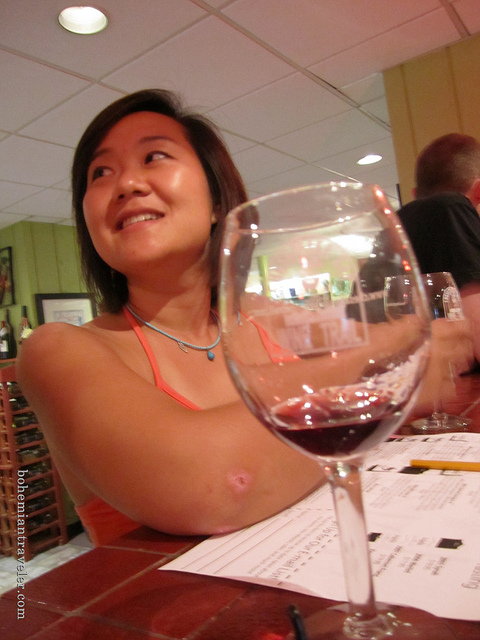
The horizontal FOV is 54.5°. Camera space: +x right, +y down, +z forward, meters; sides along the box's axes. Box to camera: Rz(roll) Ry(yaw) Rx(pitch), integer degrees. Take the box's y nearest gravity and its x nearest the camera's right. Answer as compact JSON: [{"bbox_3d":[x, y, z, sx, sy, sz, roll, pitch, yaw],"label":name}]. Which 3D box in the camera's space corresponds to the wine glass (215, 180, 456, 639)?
[{"bbox_3d":[0.048,0.038,0.207,0.093,0.173,0.032,-15,-7,4],"label":"wine glass"}]
